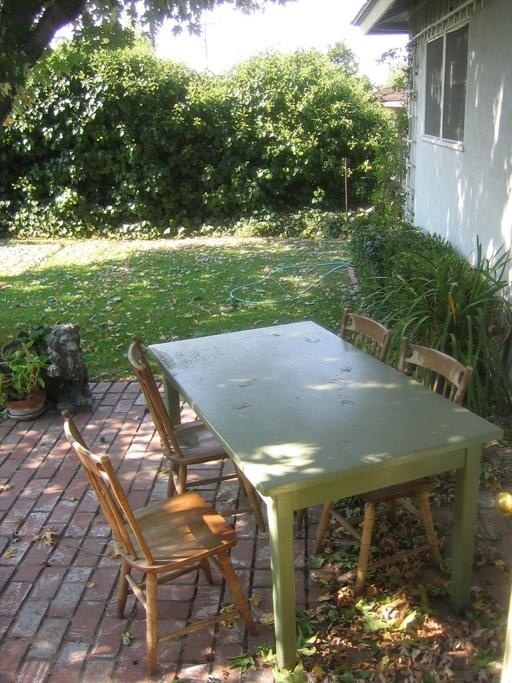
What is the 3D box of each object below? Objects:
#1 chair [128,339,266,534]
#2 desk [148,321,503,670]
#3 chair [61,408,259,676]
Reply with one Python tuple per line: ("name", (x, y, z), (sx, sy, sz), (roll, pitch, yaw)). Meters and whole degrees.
("chair", (-0.256, 0.448, 2.561), (0.703, 1.021, 0.554), (-9, 23, -12))
("desk", (0.179, 0.515, 2.539), (0.926, 0.743, 1.589), (-10, 19, -22))
("chair", (-0.315, 0.702, 2.004), (0.581, 0.810, 0.496), (-5, 15, -2))
